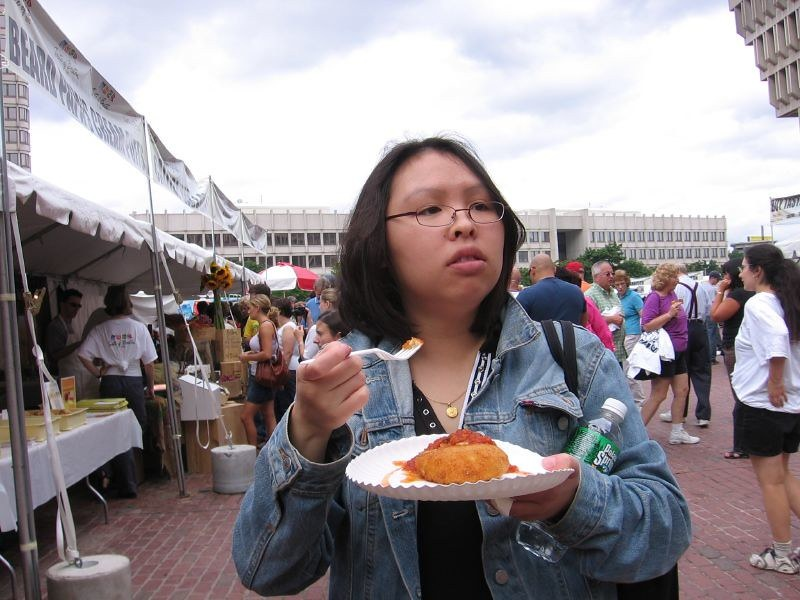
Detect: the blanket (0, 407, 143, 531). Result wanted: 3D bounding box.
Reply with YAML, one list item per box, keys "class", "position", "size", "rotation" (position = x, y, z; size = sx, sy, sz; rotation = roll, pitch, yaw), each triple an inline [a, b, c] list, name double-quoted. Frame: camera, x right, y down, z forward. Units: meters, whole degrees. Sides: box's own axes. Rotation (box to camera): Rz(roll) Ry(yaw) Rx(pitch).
- class: "blanket"
  position: [-2.881, 1.383, 5.150]
  size: [1.073, 0.329, 1.333]
  rotation: [-1, 7, 30]

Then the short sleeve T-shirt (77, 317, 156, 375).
- class: "short sleeve T-shirt"
  position: [-3.591, 0.609, 7.300]
  size: [0.920, 0.787, 0.441]
  rotation: [-3, -1, -35]

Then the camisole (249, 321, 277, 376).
- class: "camisole"
  position: [-1.922, 0.644, 8.150]
  size: [0.314, 0.623, 0.476]
  rotation: [-9, -30, -13]

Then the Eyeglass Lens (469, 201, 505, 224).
- class: "Eyeglass Lens"
  position: [0.299, -0.308, 2.009]
  size: [0.097, 0.035, 0.100]
  rotation: [-14, -8, -28]

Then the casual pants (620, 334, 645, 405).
- class: "casual pants"
  position: [2.727, 0.770, 6.719]
  size: [0.286, 0.321, 1.129]
  rotation: [15, 22, 20]

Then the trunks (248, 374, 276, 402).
- class: "trunks"
  position: [-1.937, 1.220, 7.985]
  size: [0.387, 0.554, 0.303]
  rotation: [3, -1, -36]

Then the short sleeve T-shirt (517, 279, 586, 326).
- class: "short sleeve T-shirt"
  position: [1.571, 0.016, 5.915]
  size: [0.520, 0.558, 0.300]
  rotation: [1, -4, 3]

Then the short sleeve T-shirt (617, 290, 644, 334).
- class: "short sleeve T-shirt"
  position: [3.725, 0.145, 9.019]
  size: [0.193, 0.347, 0.373]
  rotation: [0, -36, -29]

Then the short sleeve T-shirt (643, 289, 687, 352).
- class: "short sleeve T-shirt"
  position: [3.529, 0.301, 7.672]
  size: [0.397, 0.754, 0.746]
  rotation: [-5, -5, 18]

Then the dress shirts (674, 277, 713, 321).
- class: "dress shirts"
  position: [4.539, -0.012, 8.909]
  size: [0.799, 0.673, 0.424]
  rotation: [-3, -2, -26]
